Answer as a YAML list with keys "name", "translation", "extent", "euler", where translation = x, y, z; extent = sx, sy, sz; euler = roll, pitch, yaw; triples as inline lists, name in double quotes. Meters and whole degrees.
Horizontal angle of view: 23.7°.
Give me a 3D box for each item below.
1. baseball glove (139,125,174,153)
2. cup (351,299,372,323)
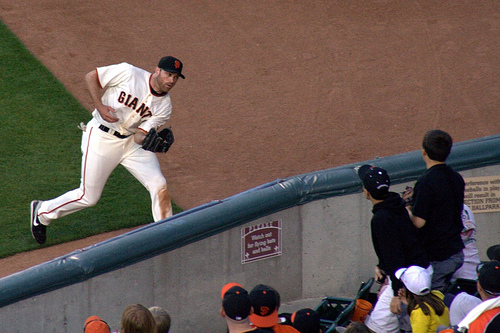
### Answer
- name: "baseball glove"
  translation: [-1.306, -0.356, 16.686]
  extent: [0.334, 0.402, 0.192]
  euler: [33, 8, -17]
- name: "cup"
  translation: [1.508, 1.948, 16.272]
  extent: [0.255, 0.283, 0.204]
  euler: [-4, 6, 19]
